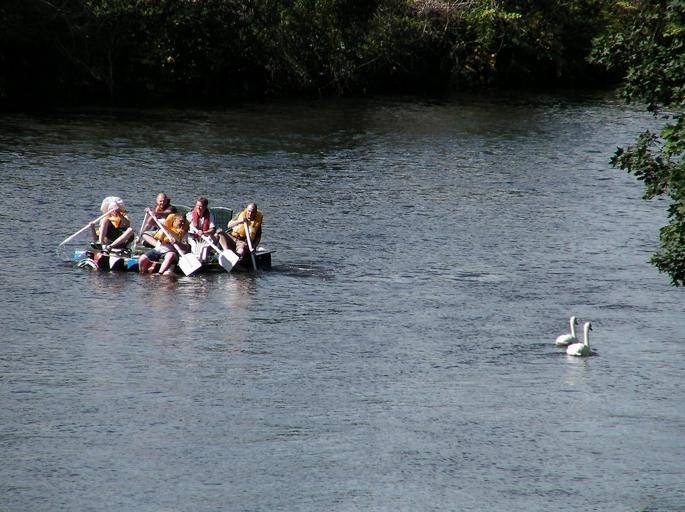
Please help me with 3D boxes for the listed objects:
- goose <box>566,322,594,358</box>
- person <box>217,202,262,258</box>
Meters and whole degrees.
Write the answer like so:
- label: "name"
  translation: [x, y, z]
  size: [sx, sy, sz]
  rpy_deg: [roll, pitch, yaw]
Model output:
- label: "goose"
  translation: [4.310, 1.469, 25.473]
  size: [0.491, 0.615, 0.915]
  rpy_deg: [2, 8, 9]
- label: "person"
  translation: [-2.175, -0.506, 29.666]
  size: [1.144, 1.104, 0.722]
  rpy_deg: [11, 20, -1]
